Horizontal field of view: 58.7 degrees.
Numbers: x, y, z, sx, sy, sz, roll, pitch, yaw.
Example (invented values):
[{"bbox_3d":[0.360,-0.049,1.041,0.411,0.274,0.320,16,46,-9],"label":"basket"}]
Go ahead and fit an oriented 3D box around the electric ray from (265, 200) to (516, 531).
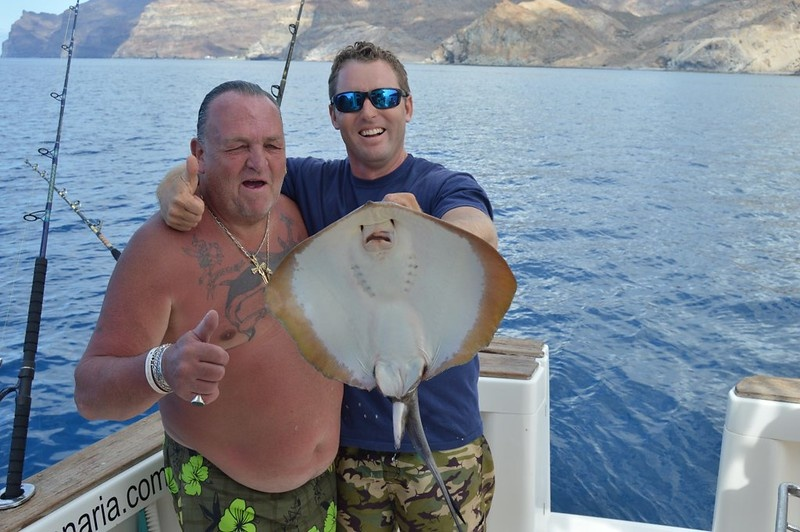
[{"bbox_3d":[-0.072,0.392,5.259,1.674,1.712,0.543,5,21,15],"label":"electric ray"}]
